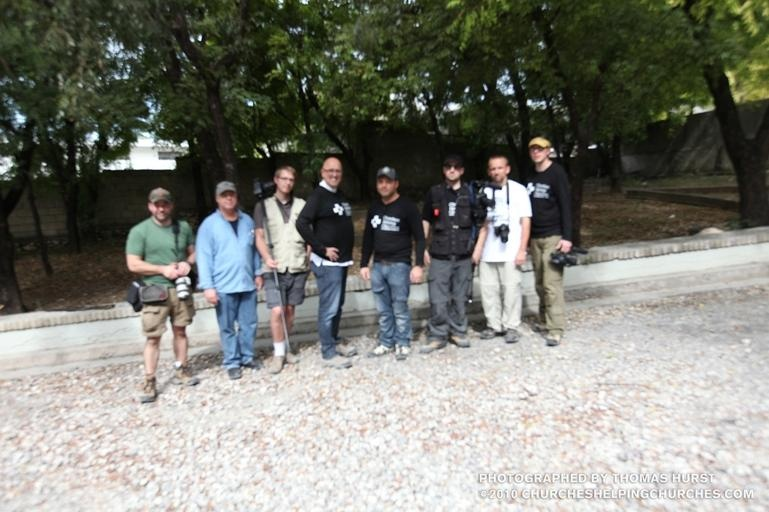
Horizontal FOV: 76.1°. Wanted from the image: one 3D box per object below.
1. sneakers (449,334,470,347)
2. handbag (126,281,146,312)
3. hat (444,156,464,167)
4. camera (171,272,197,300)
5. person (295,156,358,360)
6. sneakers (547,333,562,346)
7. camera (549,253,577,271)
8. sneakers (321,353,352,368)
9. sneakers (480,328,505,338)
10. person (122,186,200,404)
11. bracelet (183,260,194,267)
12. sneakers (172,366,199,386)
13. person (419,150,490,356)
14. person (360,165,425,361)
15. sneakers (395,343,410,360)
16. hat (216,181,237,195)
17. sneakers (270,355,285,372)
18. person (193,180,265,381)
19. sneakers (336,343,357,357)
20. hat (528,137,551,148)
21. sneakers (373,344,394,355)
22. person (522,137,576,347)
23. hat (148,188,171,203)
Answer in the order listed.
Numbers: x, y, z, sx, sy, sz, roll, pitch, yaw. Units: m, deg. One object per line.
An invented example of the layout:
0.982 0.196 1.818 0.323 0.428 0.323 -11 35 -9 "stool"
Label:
1.068 1.184 6.990 0.279 0.127 0.121 1 12 34 "sneakers"
-3.164 0.499 6.292 0.286 0.334 0.143 -7 5 -1 "handbag"
0.968 -1.309 6.746 0.304 0.172 0.143 -8 7 -31 "hat"
-2.594 0.354 6.372 0.129 0.391 0.155 -15 -39 1 "camera"
-0.766 0.092 6.624 0.749 2.764 0.428 -5 6 -10 "person"
2.366 1.143 6.803 0.261 0.145 0.178 -4 6 0 "sneakers"
2.465 0.059 6.745 0.316 0.257 0.146 -4 6 1 "camera"
-0.632 1.419 6.668 0.285 0.118 0.175 0 6 14 "sneakers"
1.595 1.122 7.160 0.381 0.158 0.140 0 19 -9 "sneakers"
-2.877 0.462 6.408 0.859 2.669 0.519 -6 6 -21 "person"
-2.604 0.070 6.502 0.114 0.086 0.036 -4 -35 23 "bracelet"
-2.652 1.572 6.549 0.459 0.267 0.183 0 9 11 "sneakers"
0.938 -0.049 6.850 0.936 2.668 0.472 -3 6 3 "person"
0.114 0.083 6.762 0.914 2.588 0.447 -4 6 -2 "person"
0.250 1.302 6.719 0.156 0.164 0.361 -1 -9 4 "sneakers"
-2.179 -0.919 6.646 0.244 0.138 0.375 -2 4 -22 "hat"
-1.465 1.453 6.700 0.168 0.194 0.277 -4 7 0 "sneakers"
-2.060 0.323 6.580 0.816 2.582 0.374 -6 6 -16 "person"
-0.540 1.309 6.921 0.258 0.112 0.142 14 40 10 "sneakers"
2.201 -1.615 6.923 0.228 0.172 0.442 -1 7 26 "hat"
-0.017 1.298 6.922 0.349 0.147 0.127 -1 3 -25 "sneakers"
2.377 -0.252 6.943 0.546 2.865 0.679 -5 6 -9 "person"
-2.960 -0.805 6.457 0.229 0.205 0.498 -6 7 -21 "hat"
